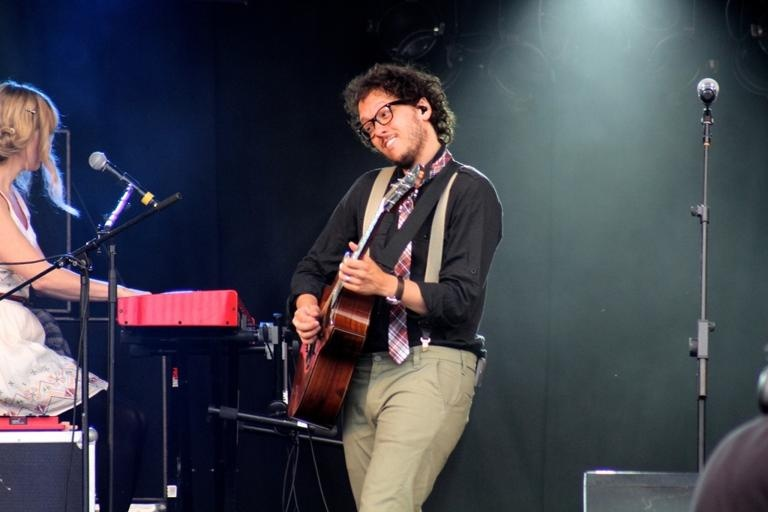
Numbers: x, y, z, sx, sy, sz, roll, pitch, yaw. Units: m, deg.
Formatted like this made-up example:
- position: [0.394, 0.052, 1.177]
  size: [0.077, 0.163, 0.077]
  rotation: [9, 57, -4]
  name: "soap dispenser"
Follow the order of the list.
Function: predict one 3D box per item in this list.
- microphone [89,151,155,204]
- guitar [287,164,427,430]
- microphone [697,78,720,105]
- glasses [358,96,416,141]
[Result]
- position: [-1.797, -0.518, 6.347]
  size: [0.465, 0.137, 0.146]
  rotation: [35, 23, -16]
  name: "microphone"
- position: [-0.214, 0.211, 4.935]
  size: [0.756, 1.371, 0.333]
  rotation: [1, -5, 43]
  name: "guitar"
- position: [2.011, -1.017, 5.833]
  size: [0.139, 0.187, 0.125]
  rotation: [1, 23, 8]
  name: "microphone"
- position: [0.008, -0.766, 5.022]
  size: [0.219, 0.069, 0.217]
  rotation: [-40, 6, -31]
  name: "glasses"
